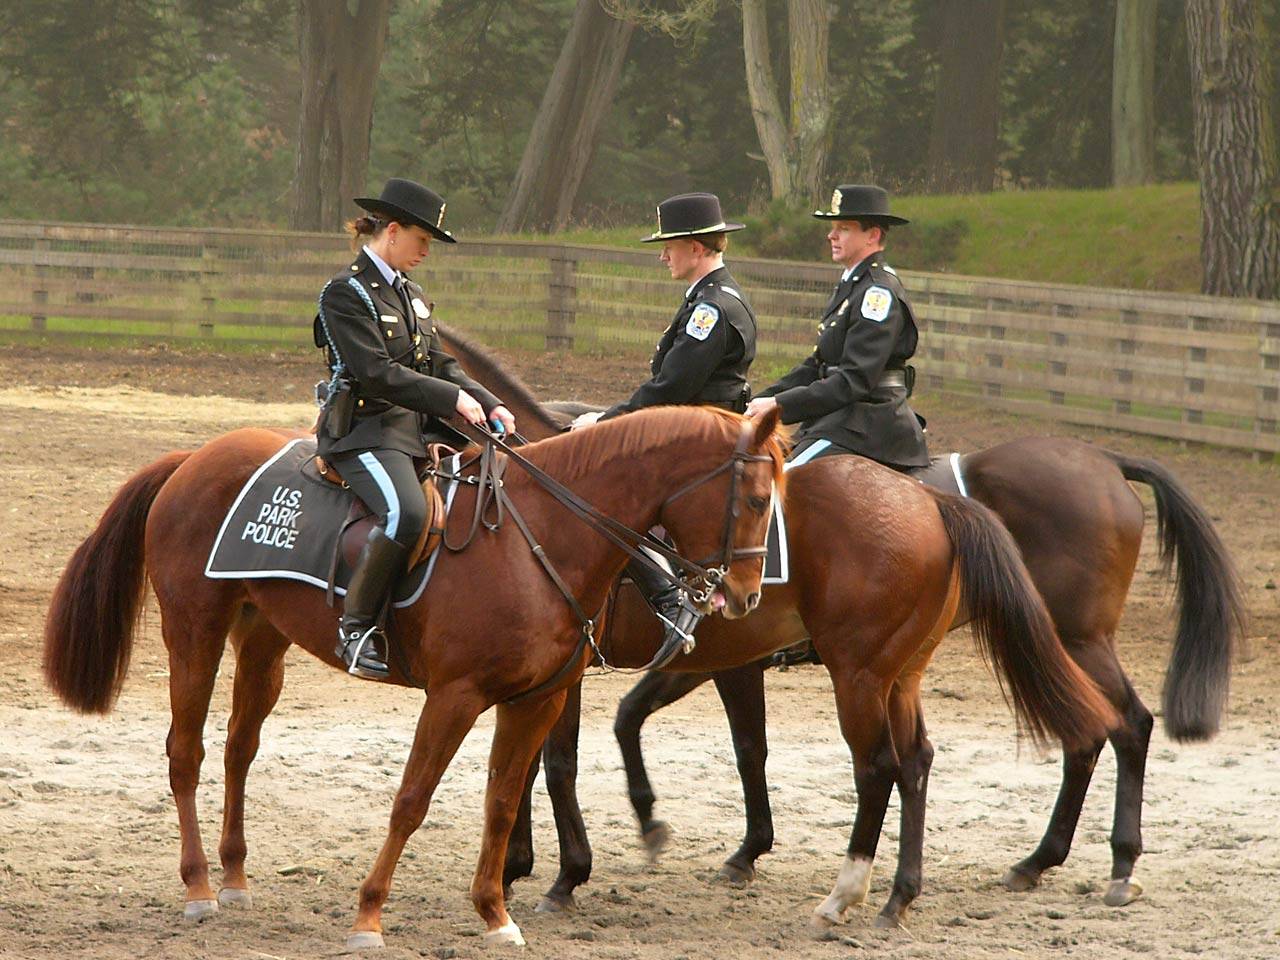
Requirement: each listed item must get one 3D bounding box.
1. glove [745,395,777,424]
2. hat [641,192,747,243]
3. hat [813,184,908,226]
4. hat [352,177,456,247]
[{"bbox_3d":[1.262,-0.743,30.494,0.275,0.080,0.209,-7,18,28],"label":"glove"},{"bbox_3d":[0.488,-2.741,31.005,0.736,0.280,0.691,-8,9,15],"label":"hat"},{"bbox_3d":[2.285,-2.888,31.320,0.722,0.255,0.640,5,5,8],"label":"hat"},{"bbox_3d":[-2.321,-2.749,29.902,0.746,0.283,0.643,20,1,-11],"label":"hat"}]
